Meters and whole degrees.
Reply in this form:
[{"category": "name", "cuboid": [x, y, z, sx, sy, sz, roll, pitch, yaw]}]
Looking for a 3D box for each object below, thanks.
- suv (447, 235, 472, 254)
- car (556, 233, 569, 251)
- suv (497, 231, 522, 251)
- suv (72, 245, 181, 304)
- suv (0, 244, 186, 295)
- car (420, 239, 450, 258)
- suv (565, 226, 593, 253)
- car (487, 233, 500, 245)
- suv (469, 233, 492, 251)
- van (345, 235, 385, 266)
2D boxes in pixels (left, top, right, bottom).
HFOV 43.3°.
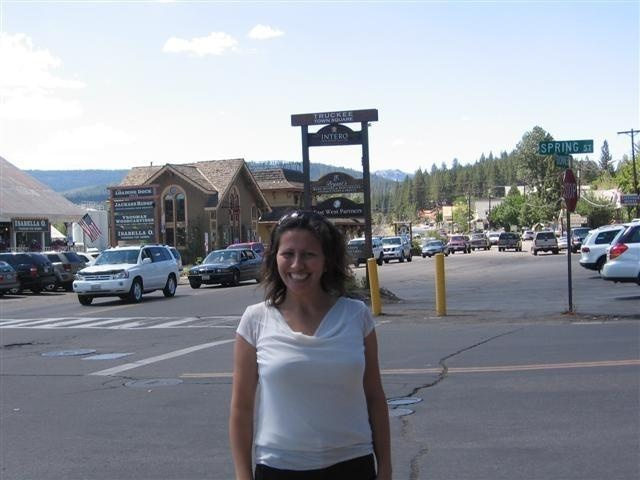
[{"category": "suv", "cuboid": [12.414, 0.388, 71.833, 1.326, 1.277, 2.727, -2, -3, 15]}, {"category": "car", "cuboid": [18.234, 0.247, 60.904, 1.353, 1.092, 3.092, 0, 7, 14]}, {"category": "suv", "cuboid": [17.165, 0.244, 73.156, 1.285, 1.267, 2.900, 0, 5, 17]}, {"category": "suv", "cuboid": [-6.275, 1.171, 26.968, 1.863, 1.659, 4.098, -10, -3, 24]}, {"category": "suv", "cuboid": [-6.174, 1.036, 26.696, 1.572, 1.335, 3.369, -3, -6, 20]}, {"category": "car", "cuboid": [8.566, 0.712, 60.474, 1.234, 1.053, 3.120, -3, -6, 14]}, {"category": "suv", "cuboid": [17.783, -0.240, 54.755, 1.927, 1.852, 3.727, -2, -4, 11]}, {"category": "car", "cuboid": [19.882, -0.015, 92.538, 1.479, 1.605, 3.175, -1, -3, 11]}, {"category": "suv", "cuboid": [16.000, 0.228, 80.710, 1.516, 1.475, 3.380, -2, -3, 15]}, {"category": "van", "cuboid": [1.669, 0.352, 35.932, 1.299, 1.251, 2.479, -3, -6, 18]}]
